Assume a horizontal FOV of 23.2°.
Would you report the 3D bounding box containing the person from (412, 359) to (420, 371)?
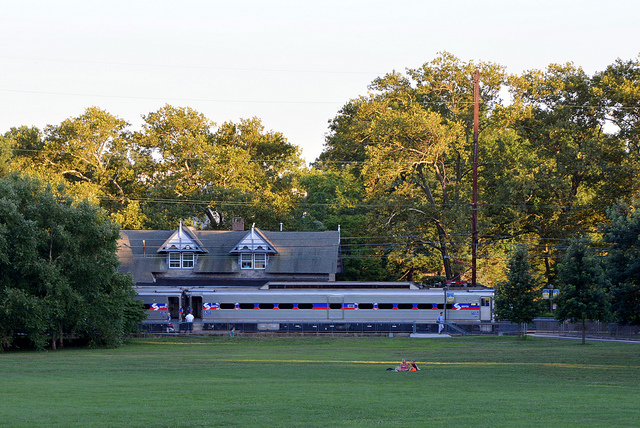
[{"bbox_3d":[8.689,13.620,141.549,0.878,0.820,0.673,-6,-7,-5],"label":"person"}]
